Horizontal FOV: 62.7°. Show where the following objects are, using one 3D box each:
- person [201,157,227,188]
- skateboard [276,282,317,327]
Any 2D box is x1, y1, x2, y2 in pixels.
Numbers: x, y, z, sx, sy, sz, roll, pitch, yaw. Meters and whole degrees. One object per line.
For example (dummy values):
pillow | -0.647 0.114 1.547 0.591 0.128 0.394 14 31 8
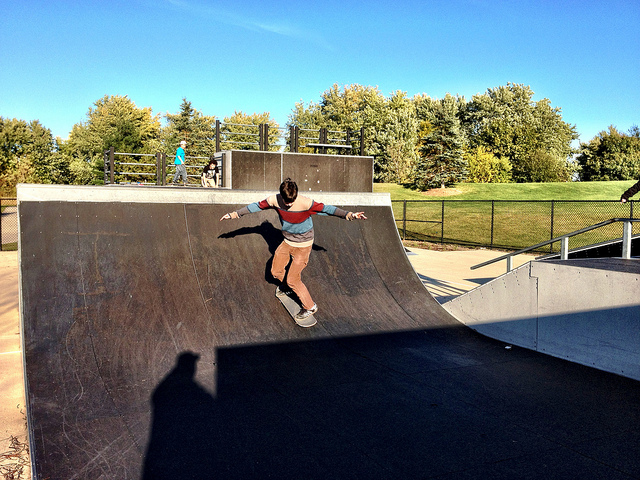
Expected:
person | -3.198 -1.919 15.286 0.520 0.886 0.702 -1 4 -20
skateboard | -0.397 1.021 8.211 0.321 0.156 1.067 -16 41 -19
